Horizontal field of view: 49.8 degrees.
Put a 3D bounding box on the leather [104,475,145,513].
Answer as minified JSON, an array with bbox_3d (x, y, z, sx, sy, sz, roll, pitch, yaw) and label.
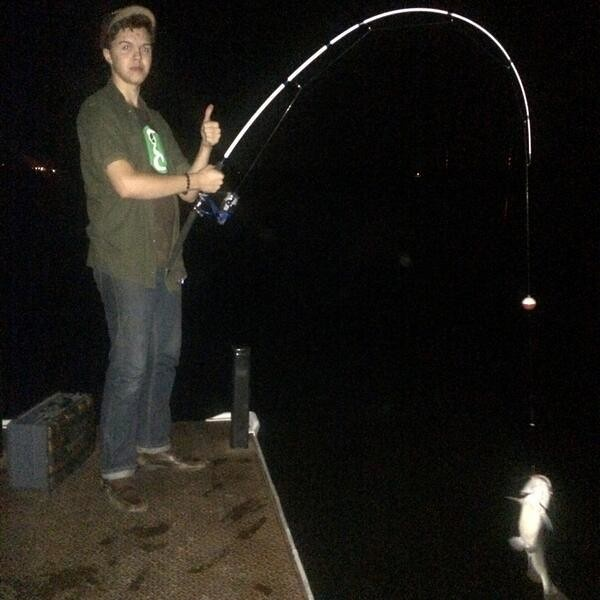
[{"bbox_3d":[-0.779,0.905,3.014,0.092,0.117,0.262,3,-5,-36],"label":"leather"}]

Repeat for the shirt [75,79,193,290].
[{"bbox_3d":[-0.725,-0.521,3.091,0.484,0.998,0.418,-11,16,-33],"label":"shirt"}]
